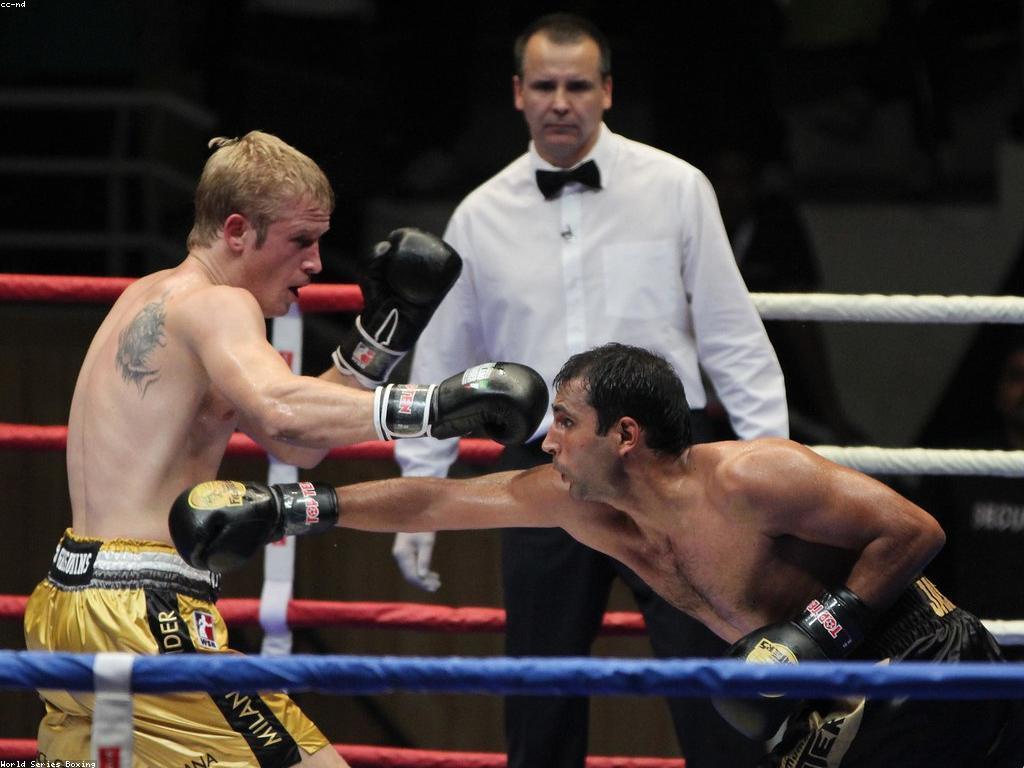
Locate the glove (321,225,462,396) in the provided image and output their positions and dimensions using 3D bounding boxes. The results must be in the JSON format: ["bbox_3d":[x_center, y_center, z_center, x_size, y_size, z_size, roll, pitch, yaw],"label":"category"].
[{"bbox_3d":[-0.322,-0.211,3.982,0.301,0.455,0.182,39,9,-4],"label":"glove"}]

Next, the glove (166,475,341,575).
[{"bbox_3d":[-0.668,0.329,3.630,0.229,0.147,0.347,29,25,37],"label":"glove"}]

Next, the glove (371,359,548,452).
[{"bbox_3d":[-0.128,0.058,3.624,0.403,0.147,0.194,-1,42,6],"label":"glove"}]
